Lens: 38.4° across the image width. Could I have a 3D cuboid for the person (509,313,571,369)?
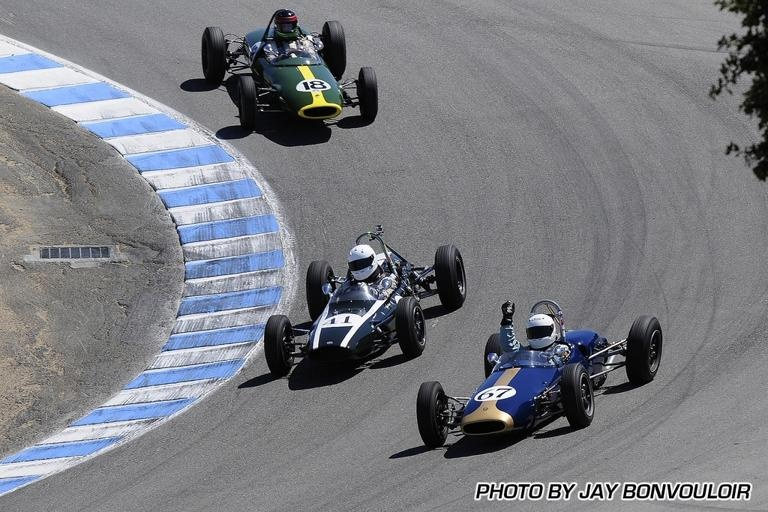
[{"bbox_3d":[3.444,1.873,24.450,1.258,0.951,1.958,-8,12,26],"label":"person"}]
